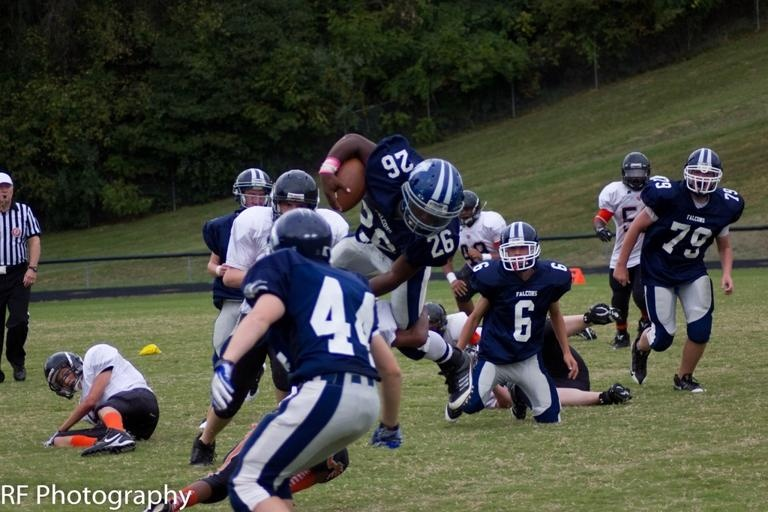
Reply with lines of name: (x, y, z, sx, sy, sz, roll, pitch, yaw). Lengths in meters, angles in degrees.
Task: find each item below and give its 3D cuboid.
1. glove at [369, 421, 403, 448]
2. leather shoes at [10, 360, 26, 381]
glove: (-0.058, 3.198, 24.035, 0.585, 0.537, 0.354, 1, 14, 3)
leather shoes: (-7.734, 2.388, 27.494, 0.177, 0.209, 0.505, 3, 23, -34)
